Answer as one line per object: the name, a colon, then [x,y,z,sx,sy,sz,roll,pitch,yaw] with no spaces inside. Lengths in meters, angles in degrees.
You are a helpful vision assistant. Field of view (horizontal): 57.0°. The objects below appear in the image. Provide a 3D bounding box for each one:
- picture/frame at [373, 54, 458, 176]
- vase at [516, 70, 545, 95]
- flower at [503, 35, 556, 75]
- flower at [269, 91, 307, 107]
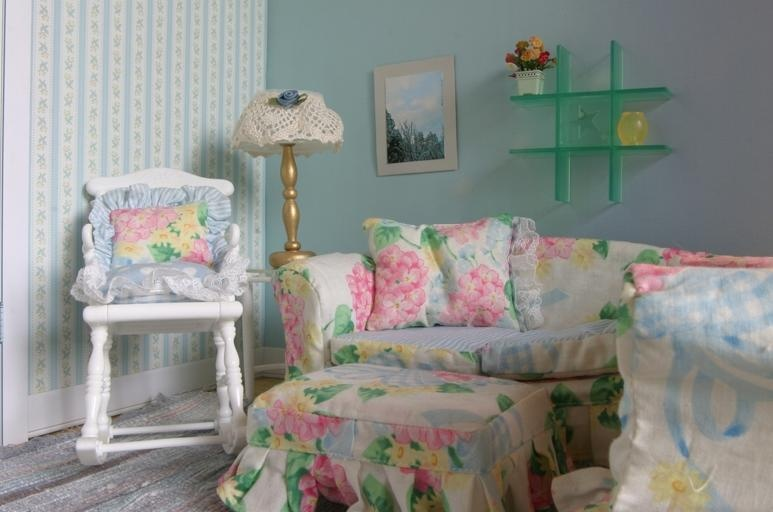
picture/frame: [0.194,-0.859,4.282,0.724,0.844,0.040,-3,-1,26]
vase: [0.766,-0.920,3.847,0.128,0.111,0.143,-1,-4,22]
flower: [0.780,-1.077,3.836,0.257,0.196,0.232,3,10,-1]
flower: [-0.533,-0.857,3.877,0.119,0.052,0.119,6,25,3]
